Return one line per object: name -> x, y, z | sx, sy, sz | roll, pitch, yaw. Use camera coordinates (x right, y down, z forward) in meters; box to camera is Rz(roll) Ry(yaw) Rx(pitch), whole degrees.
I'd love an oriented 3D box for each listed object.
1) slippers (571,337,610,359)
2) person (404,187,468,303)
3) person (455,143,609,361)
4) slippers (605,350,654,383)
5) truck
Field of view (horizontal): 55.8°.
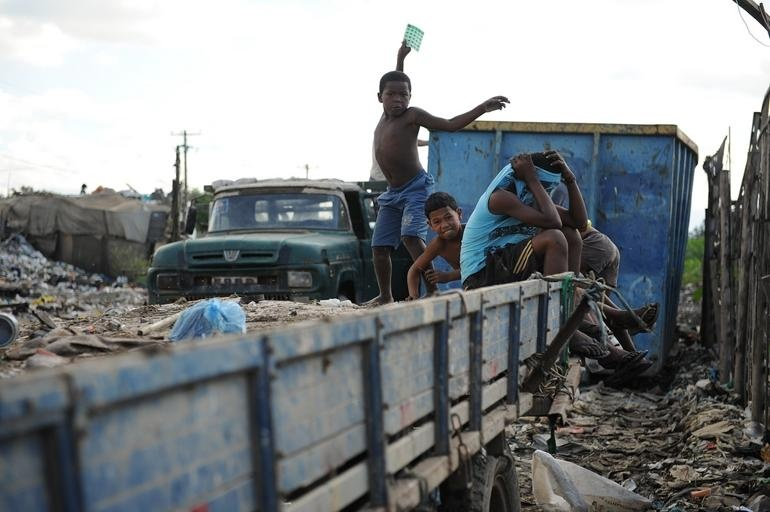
slippers -> 1.487, 0.668, 5.300 | 0.236, 0.166, 0.066 | 16, -26, -17
person -> 0.321, -0.205, 6.391 | 0.586, 0.854, 0.772 | -12, -46, 14
person -> 1.116, -0.265, 5.623 | 0.952, 1.130, 0.879 | 4, 3, -3
slippers -> 1.871, 0.870, 5.629 | 0.325, 0.300, 0.447 | 5, 3, 25
truck -> -1.111, -0.140, 8.807 | 1.548, 1.395, 2.480 | -2, -7, 10
